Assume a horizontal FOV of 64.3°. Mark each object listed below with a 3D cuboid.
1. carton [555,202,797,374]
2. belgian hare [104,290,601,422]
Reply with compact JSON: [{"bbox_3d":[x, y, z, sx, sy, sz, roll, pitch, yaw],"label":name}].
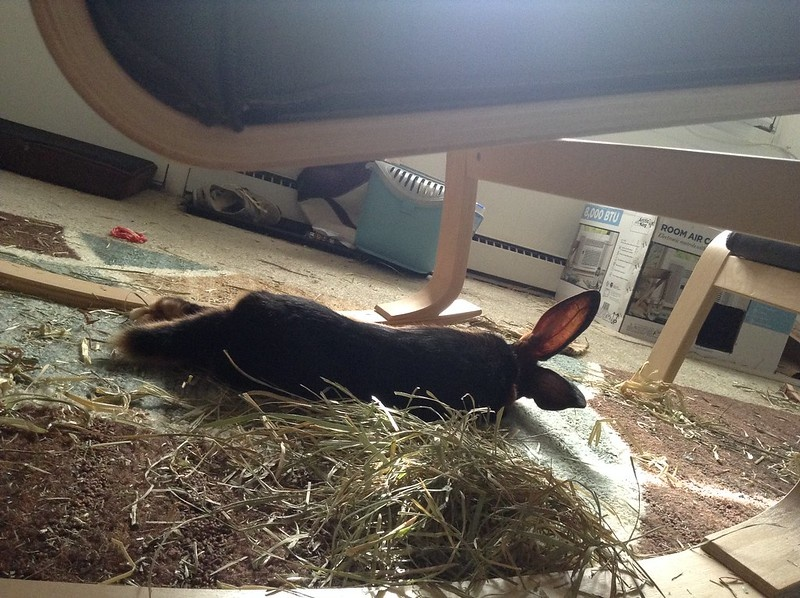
[{"bbox_3d":[0.836,-0.005,1.887,0.433,0.389,0.704,4,22,-35],"label":"carton"},{"bbox_3d":[-0.095,0.103,1.096,0.628,0.113,0.294,2,-11,-22],"label":"belgian hare"}]
